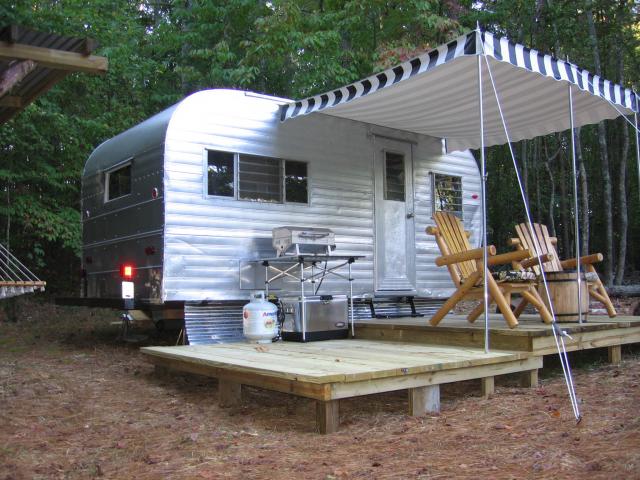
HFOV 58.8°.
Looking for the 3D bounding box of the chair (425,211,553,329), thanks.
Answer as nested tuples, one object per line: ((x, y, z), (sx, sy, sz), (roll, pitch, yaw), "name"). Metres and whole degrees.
((1.932, 0.281, 6.515), (1.237, 1.154, 1.299), (-4, 1, -23), "chair")

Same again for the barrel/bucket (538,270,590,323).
((2.820, 0.660, 6.759), (0.654, 0.554, 0.642), (-1, -4, 0), "barrel/bucket")

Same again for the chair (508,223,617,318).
((2.861, 0.387, 6.932), (1.094, 1.087, 0.992), (0, 0, -6), "chair")
